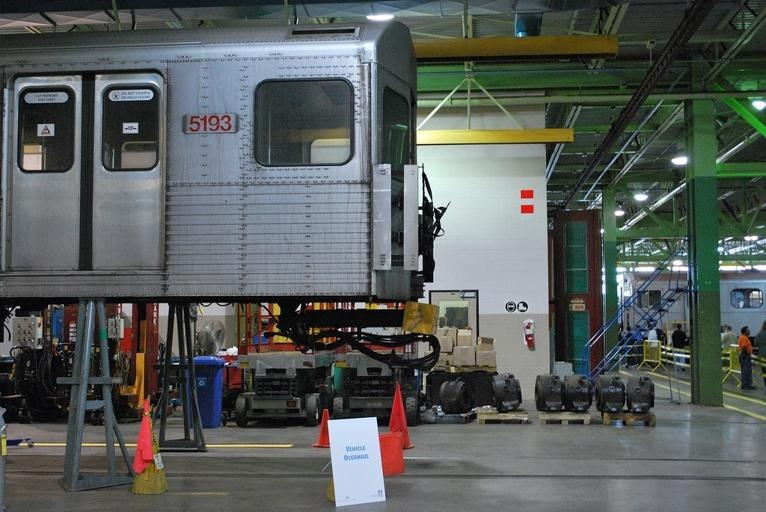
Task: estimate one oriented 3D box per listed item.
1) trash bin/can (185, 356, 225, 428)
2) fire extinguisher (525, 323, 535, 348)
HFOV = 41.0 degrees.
[{"bbox_3d":[-4.073,3.185,23.865,0.658,1.631,0.318,2,-6,-11],"label":"trash bin/can"},{"bbox_3d":[4.089,2.232,28.885,0.215,0.738,0.267,0,1,3],"label":"fire extinguisher"}]
